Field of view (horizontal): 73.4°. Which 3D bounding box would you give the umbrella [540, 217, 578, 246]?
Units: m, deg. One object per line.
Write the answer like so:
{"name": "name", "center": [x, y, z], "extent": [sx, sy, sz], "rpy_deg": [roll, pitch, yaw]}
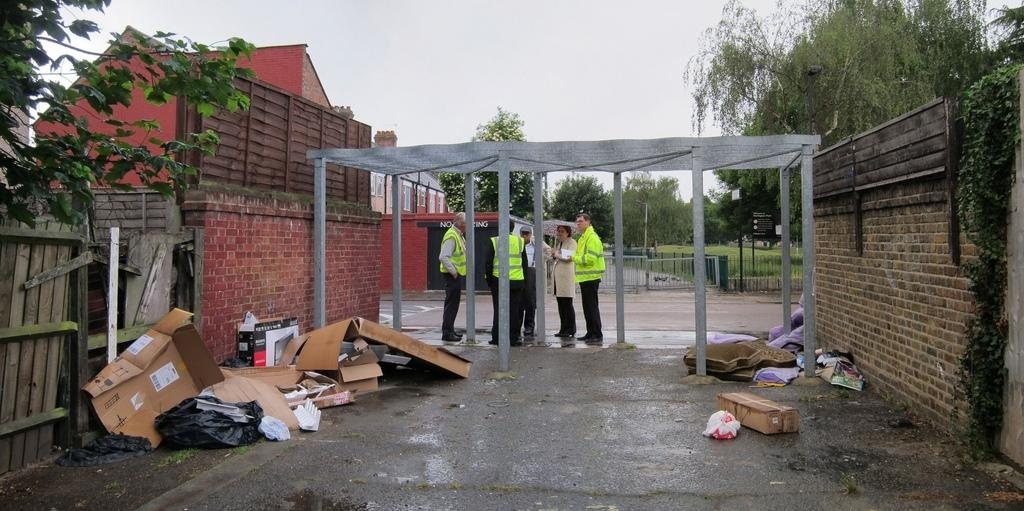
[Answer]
{"name": "umbrella", "center": [1.978, -0.931, 29.153], "extent": [2.094, 1.182, 1.872], "rpy_deg": [0, -6, -1]}

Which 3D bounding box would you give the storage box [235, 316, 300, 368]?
{"name": "storage box", "center": [-4.588, 1.671, 12.994], "extent": [0.449, 0.821, 1.325], "rpy_deg": [3, 3, 22]}

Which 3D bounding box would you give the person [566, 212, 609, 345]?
{"name": "person", "center": [1.762, 0.540, 15.936], "extent": [0.706, 2.993, 1.019], "rpy_deg": [-3, 2, 6]}

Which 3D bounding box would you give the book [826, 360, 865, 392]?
{"name": "book", "center": [5.911, 2.174, 12.127], "extent": [0.454, 0.203, 0.592], "rpy_deg": [9, 11, 24]}

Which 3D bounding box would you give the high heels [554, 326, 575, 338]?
{"name": "high heels", "center": [1.271, 1.885, 16.387], "extent": [0.519, 0.212, 0.181], "rpy_deg": [2, -3, 13]}

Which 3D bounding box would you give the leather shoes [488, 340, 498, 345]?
{"name": "leather shoes", "center": [-0.461, 2.006, 15.670], "extent": [0.148, 0.060, 0.643], "rpy_deg": [-3, 1, -10]}
